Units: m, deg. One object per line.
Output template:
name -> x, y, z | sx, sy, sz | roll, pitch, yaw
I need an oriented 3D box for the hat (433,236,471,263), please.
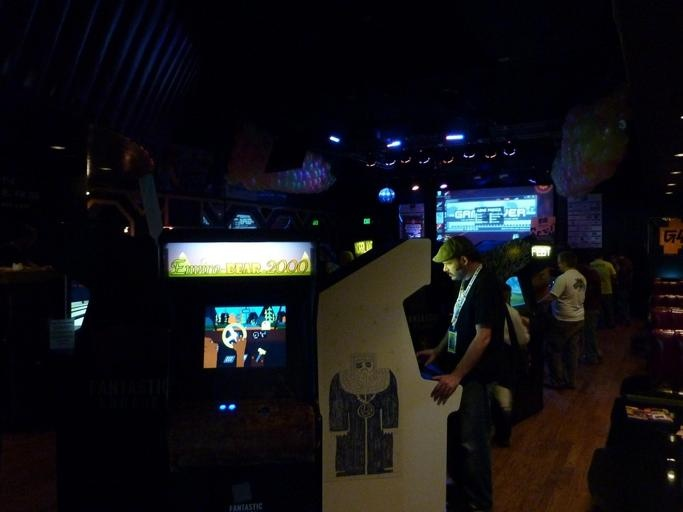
hat -> 0.820, -0.054, 4.372 | 0.218, 0.134, 0.173 | 0, 4, 2

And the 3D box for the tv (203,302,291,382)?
tv -> -0.646, 0.594, 3.956 | 0.465, 0.384, 0.008 | 0, -12, -3
